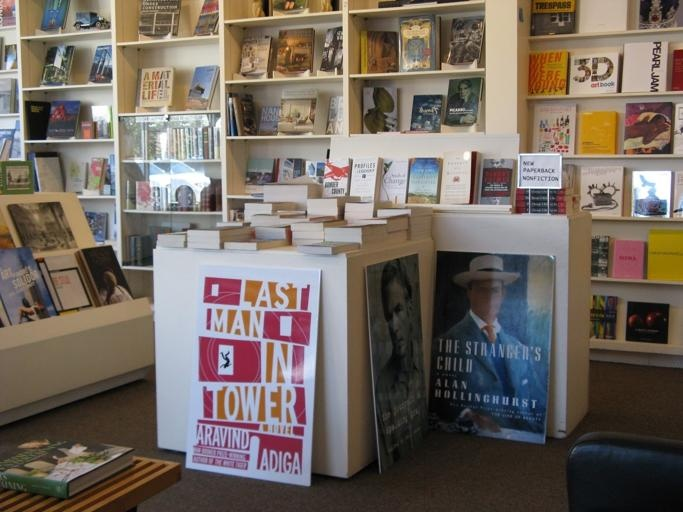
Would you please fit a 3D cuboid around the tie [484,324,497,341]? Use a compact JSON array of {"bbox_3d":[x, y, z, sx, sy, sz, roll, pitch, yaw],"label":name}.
[{"bbox_3d":[0.927,0.477,3.637,0.071,0.099,0.034,-24,-6,29],"label":"tie"}]
